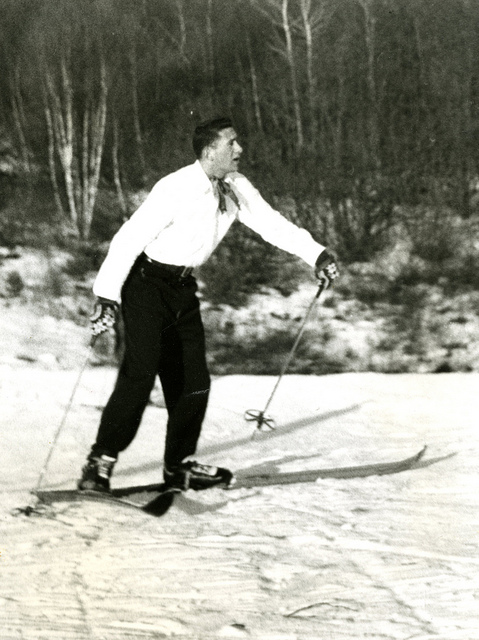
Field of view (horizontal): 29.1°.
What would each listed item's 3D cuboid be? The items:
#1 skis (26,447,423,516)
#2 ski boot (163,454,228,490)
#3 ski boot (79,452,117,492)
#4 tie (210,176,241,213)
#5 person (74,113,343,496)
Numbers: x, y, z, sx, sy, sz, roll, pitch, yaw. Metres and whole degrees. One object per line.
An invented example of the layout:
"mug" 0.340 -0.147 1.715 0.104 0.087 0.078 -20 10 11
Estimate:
"skis" -0.076 0.682 3.853 1.402 0.120 0.162 -3 -18 -18
"ski boot" -0.203 0.604 3.806 0.309 0.155 0.105 -6 27 -12
"ski boot" -0.576 0.601 3.641 0.135 0.177 0.155 0 -10 43
"tie" -0.062 -0.506 3.693 0.121 0.122 0.044 -13 -9 -37
"person" -0.181 -0.057 3.744 1.019 1.492 0.321 -7 13 -41
